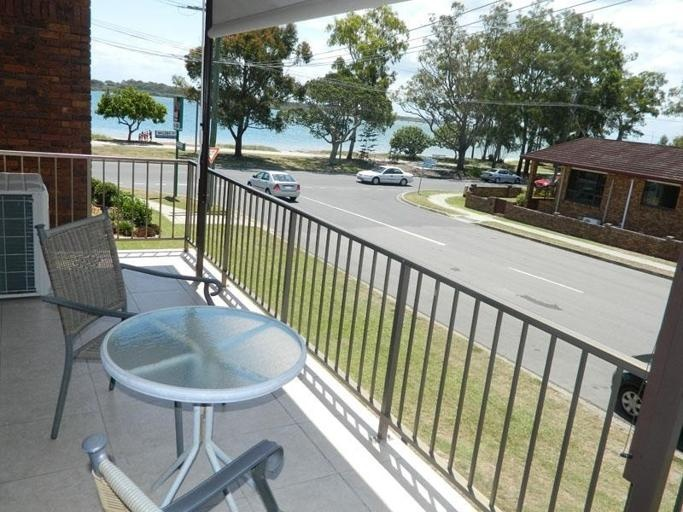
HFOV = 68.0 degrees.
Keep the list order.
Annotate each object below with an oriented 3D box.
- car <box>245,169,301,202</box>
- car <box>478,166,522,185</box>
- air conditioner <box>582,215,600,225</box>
[{"bbox_3d":[-2.957,-2.993,22.748,1.982,1.355,1.936,-2,16,-21],"label":"car"},{"bbox_3d":[14.243,-6.978,45.070,3.711,1.185,2.093,-3,17,-27],"label":"car"},{"bbox_3d":[11.121,-1.559,22.447,0.441,0.209,0.684,3,14,-15],"label":"air conditioner"}]
